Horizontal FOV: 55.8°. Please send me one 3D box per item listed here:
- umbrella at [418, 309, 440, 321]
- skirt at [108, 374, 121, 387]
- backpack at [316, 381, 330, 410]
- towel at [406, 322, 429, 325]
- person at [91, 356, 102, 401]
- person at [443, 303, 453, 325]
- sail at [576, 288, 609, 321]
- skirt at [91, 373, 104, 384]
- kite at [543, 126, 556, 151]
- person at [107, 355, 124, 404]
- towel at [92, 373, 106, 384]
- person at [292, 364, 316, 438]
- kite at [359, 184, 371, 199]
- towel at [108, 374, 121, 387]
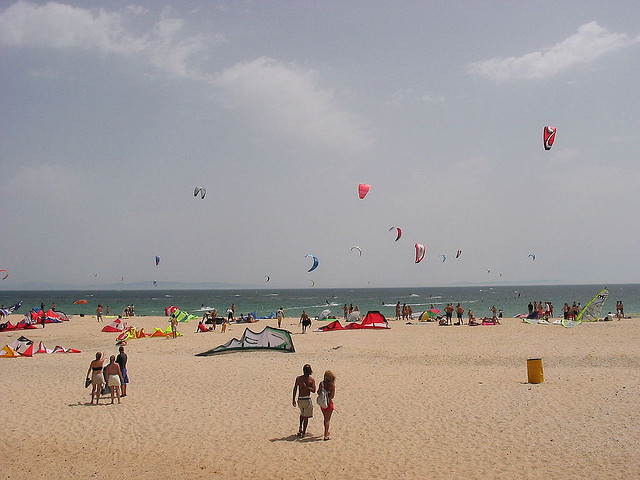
[{"bbox_3d":[6.697,4.640,37.533,0.775,0.659,1.740,0,0,36],"label":"umbrella"},{"bbox_3d":[-5.755,3.931,17.056,0.432,0.447,0.257,1,-16,-17],"label":"skirt"},{"bbox_3d":[0.068,3.720,14.441,0.303,0.647,0.234,0,0,-1],"label":"backpack"},{"bbox_3d":[5.728,4.971,35.882,1.394,0.101,1.011,-1,0,24],"label":"towel"},{"bbox_3d":[-6.235,3.881,16.897,0.266,1.052,0.453,0,0,-21],"label":"person"},{"bbox_3d":[7.363,4.224,34.860,0.381,1.205,2.441,0,0,11],"label":"person"},{"bbox_3d":[12.940,3.154,28.794,0.971,1.706,3.621,0,0,16],"label":"sail"},{"bbox_3d":[-6.147,3.820,16.808,0.264,0.296,0.272,5,11,23],"label":"skirt"},{"bbox_3d":[7.885,-3.495,20.863,0.294,0.912,1.640,0,0,21],"label":"kite"},{"bbox_3d":[-5.781,3.908,17.094,0.416,1.258,0.632,0,0,-10],"label":"person"},{"bbox_3d":[-6.143,3.800,16.794,0.268,0.221,0.269,-7,9,-41],"label":"towel"},{"bbox_3d":[-0.403,3.929,14.717,0.513,1.736,0.778,0,0,-2],"label":"person"},{"bbox_3d":[2.300,-2.546,32.199,0.437,0.753,1.417,0,0,3],"label":"kite"},{"bbox_3d":[-5.778,3.926,17.094,0.404,0.416,0.244,3,-16,-24],"label":"towel"}]
